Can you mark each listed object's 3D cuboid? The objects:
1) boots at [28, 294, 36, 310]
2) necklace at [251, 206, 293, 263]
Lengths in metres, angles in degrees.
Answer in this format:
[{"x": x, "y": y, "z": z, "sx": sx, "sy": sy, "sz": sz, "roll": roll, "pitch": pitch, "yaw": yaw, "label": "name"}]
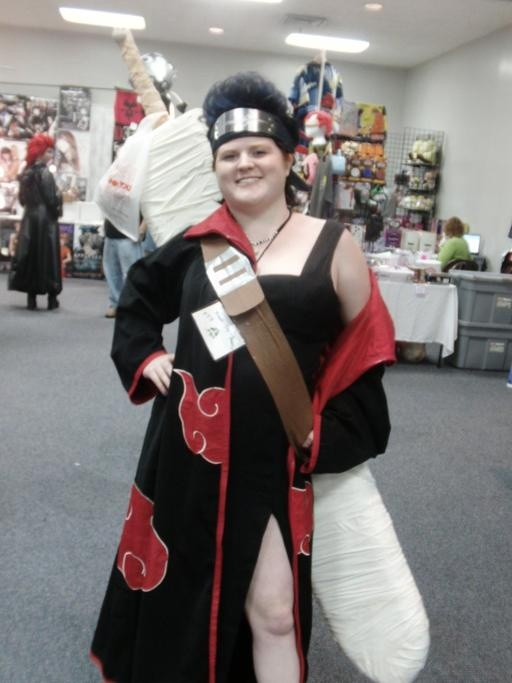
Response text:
[{"x": -2.794, "y": -0.493, "z": 5.756, "sx": 0.106, "sy": 0.206, "sz": 0.135, "roll": -2, "pitch": 10, "yaw": -30, "label": "boots"}, {"x": 0.029, "y": -0.161, "z": 0.737, "sx": 0.047, "sy": 0.088, "sz": 0.021, "roll": 29, "pitch": -7, "yaw": 29, "label": "necklace"}]
